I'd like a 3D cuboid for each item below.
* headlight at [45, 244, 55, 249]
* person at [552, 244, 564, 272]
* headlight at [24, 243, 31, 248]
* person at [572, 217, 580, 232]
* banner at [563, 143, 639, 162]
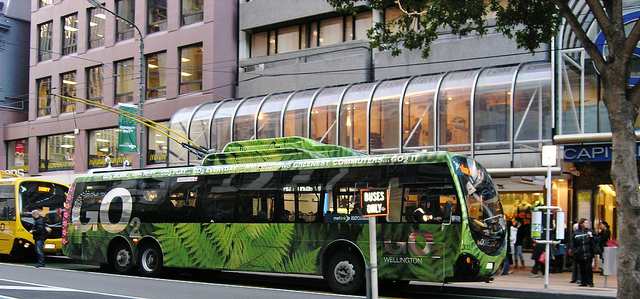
[{"bbox_3d":[-18.465,6.607,50.476,0.649,0.282,0.120,3,-10,-25],"label":"headlight"},{"bbox_3d":[15.621,7.077,48.370,0.682,1.921,0.654,-5,7,-5],"label":"person"},{"bbox_3d":[-19.935,6.532,50.378,0.380,0.302,0.074,-4,7,-11],"label":"headlight"},{"bbox_3d":[16.587,4.908,47.940,0.639,0.739,0.768,-5,26,7],"label":"person"},{"bbox_3d":[17.630,0.229,48.795,2.902,1.159,0.339,-1,7,17],"label":"banner"}]
